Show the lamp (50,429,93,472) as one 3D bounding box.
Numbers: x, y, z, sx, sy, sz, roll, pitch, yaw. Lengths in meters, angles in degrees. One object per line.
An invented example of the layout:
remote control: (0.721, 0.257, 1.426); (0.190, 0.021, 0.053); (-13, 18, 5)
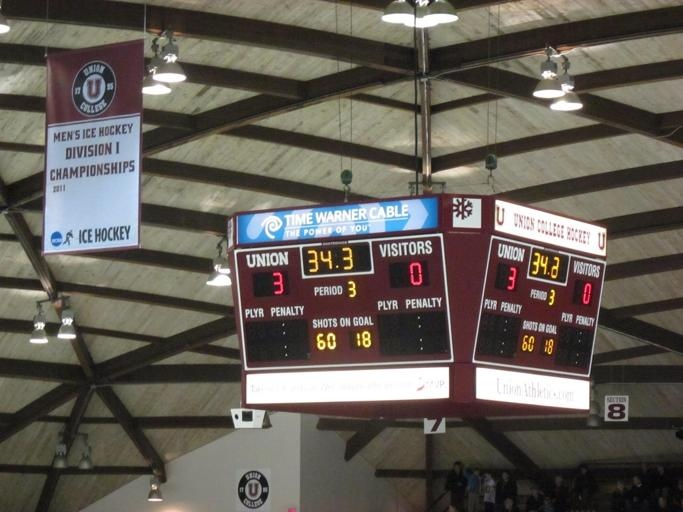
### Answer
lamp: (-10.168, 7.297, 50.667); (0.654, 1.384, 1.764); (-1, -12, 45)

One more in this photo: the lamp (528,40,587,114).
lamp: (5.232, -4.466, 32.926); (0.813, 1.513, 1.383); (-14, -23, 31)

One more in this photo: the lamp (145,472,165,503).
lamp: (-7.219, 8.896, 52.174); (0.541, 1.142, 1.077); (3, -21, -9)

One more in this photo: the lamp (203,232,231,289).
lamp: (-3.437, -0.027, 37.828); (0.765, 1.583, 0.677); (-5, -34, 5)
